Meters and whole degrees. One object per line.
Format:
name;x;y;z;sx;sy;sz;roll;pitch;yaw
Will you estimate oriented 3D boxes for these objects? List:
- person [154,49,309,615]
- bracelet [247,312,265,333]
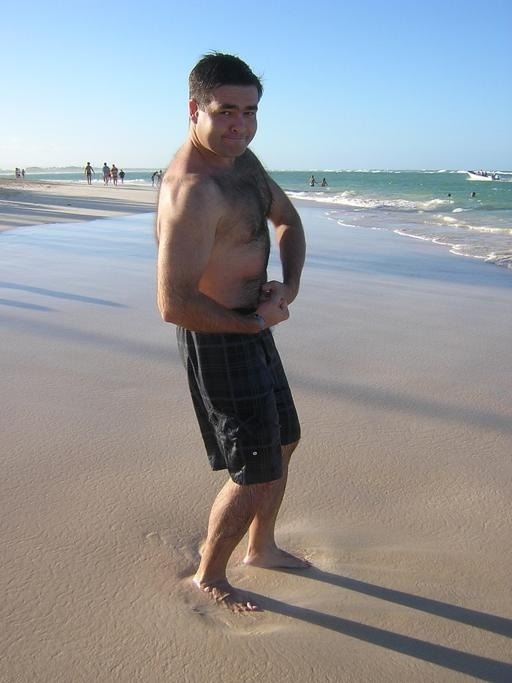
person;-0.022;-0.017;1.771;0.465;1.691;0.684;8;15;23
bracelet;-0.004;-0.062;1.649;0.048;0.025;0.061;34;19;-27
